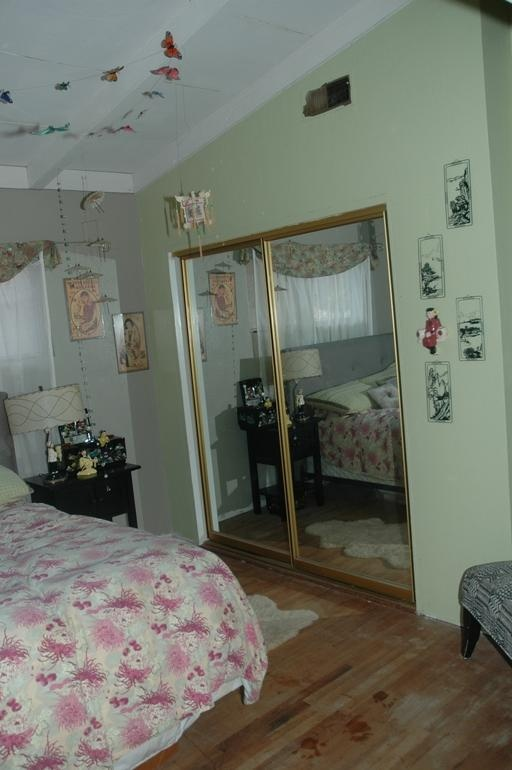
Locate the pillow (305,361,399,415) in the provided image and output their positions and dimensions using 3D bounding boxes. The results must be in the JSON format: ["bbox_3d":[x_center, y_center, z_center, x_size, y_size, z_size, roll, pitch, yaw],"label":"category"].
[{"bbox_3d":[0.496,0.036,3.148,0.080,0.221,0.662,-8,2,-32],"label":"pillow"}]

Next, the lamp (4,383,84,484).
[{"bbox_3d":[-1.297,0.303,3.504,0.205,0.630,0.506,5,12,38],"label":"lamp"}]

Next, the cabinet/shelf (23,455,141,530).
[{"bbox_3d":[-1.066,0.648,3.663,0.394,0.569,0.607,10,17,40],"label":"cabinet/shelf"}]
